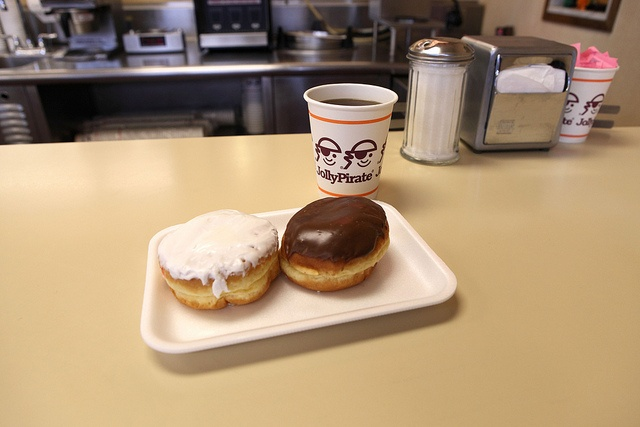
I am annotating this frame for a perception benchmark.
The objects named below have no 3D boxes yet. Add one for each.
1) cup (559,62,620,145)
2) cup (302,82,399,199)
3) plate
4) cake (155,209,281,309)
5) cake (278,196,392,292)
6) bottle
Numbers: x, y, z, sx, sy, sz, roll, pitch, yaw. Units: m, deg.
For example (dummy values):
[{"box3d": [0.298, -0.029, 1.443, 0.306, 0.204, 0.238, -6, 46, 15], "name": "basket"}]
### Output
[{"box3d": [0.607, -0.281, 1.172, 0.160, 0.170, 0.159, -3, 27, 2], "name": "cup"}, {"box3d": [0.088, -0.109, 0.945, 0.183, 0.187, 0.180, 3, 8, 0], "name": "cup"}, {"box3d": [-0.024, 0.110, 0.711, 0.356, 0.040, 0.245, -6, 32, -10], "name": "plate"}, {"box3d": [-0.164, 0.066, 0.788, 0.195, 0.094, 0.205, 9, 32, 22], "name": "cake"}, {"box3d": [0.025, 0.037, 0.824, 0.195, 0.114, 0.220, 5, 27, 14], "name": "cake"}, {"box3d": [0.258, -0.247, 1.048, 0.145, 0.240, 0.138, 2, 25, -1], "name": "bottle"}]
